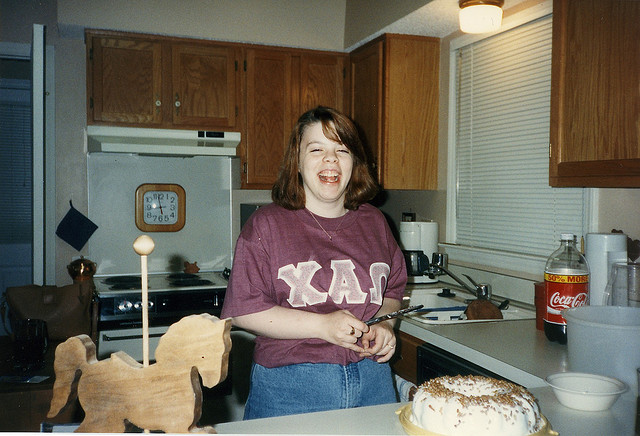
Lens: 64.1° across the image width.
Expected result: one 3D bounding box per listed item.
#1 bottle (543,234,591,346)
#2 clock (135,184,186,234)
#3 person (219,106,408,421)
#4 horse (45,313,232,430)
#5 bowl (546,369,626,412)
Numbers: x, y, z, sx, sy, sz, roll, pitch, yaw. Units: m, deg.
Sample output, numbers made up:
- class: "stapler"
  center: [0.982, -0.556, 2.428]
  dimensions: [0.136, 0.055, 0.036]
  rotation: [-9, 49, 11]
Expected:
- class: "bottle"
  center: [0.975, 0.287, 2.009]
  dimensions: [0.175, 0.436, 0.286]
  rotation: [0, 5, 24]
- class: "clock"
  center: [-1.193, -0.070, 3.728]
  dimensions: [0.372, 0.383, 0.044]
  rotation: [-1, 2, -23]
- class: "person"
  center: [-0.007, 0.156, 1.842]
  dimensions: [0.590, 1.114, 0.449]
  rotation: [-1, 5, 13]
- class: "horse"
  center: [-0.408, 0.361, 1.153]
  dimensions: [0.408, 0.275, 0.115]
  rotation: [-2, 5, 10]
- class: "bowl"
  center: [0.799, 0.520, 1.520]
  dimensions: [0.220, 0.080, 0.218]
  rotation: [1, 1, 0]
